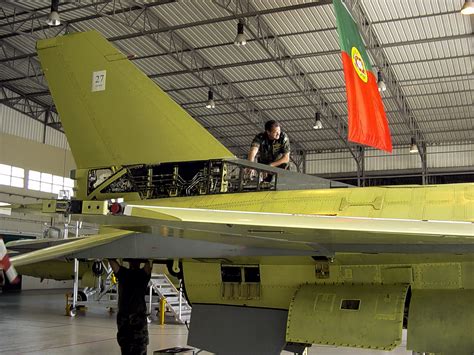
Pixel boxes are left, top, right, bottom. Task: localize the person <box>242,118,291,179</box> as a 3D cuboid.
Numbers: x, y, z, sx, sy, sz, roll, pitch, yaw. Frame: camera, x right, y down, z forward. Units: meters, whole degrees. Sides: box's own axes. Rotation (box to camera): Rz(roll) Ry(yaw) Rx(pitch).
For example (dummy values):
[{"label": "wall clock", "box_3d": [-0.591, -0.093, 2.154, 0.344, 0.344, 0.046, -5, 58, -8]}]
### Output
[{"label": "person", "box_3d": [0.663, -0.683, 11.536, 0.917, 1.284, 0.926, 1, 8, -13]}]
